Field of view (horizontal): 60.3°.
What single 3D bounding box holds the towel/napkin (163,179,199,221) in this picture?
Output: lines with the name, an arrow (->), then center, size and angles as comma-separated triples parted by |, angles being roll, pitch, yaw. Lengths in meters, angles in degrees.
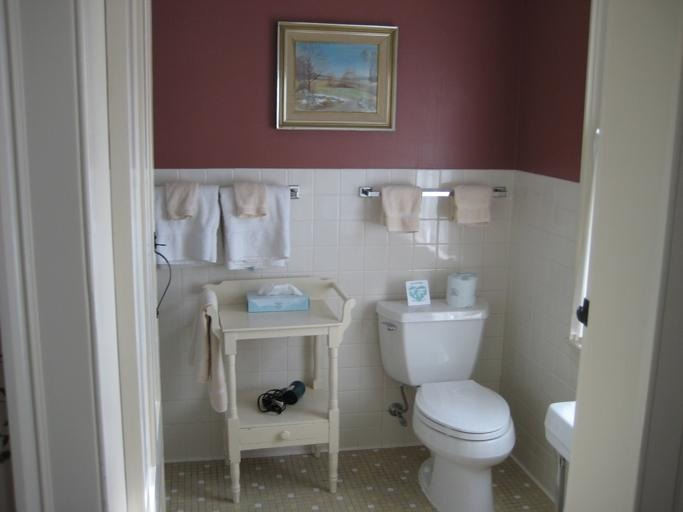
towel/napkin -> -0.755, -0.266, 2.763 | 0.155, 0.170, 0.055 | -4, 4, -2

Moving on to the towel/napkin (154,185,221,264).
towel/napkin -> -0.729, -0.137, 2.703 | 0.318, 0.363, 0.111 | -2, 12, -2

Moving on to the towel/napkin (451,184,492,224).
towel/napkin -> 0.662, -0.264, 3.015 | 0.175, 0.184, 0.076 | -2, 9, -10

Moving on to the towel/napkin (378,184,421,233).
towel/napkin -> 0.308, -0.230, 2.993 | 0.213, 0.250, 0.075 | -3, -11, -1

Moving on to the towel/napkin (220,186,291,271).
towel/napkin -> -0.449, -0.167, 2.986 | 0.348, 0.403, 0.127 | -5, 14, -13

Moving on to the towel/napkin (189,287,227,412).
towel/napkin -> -0.630, 0.450, 2.758 | 0.153, 0.533, 0.304 | -5, 13, -15

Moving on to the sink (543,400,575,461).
sink -> 0.793, 0.641, 2.152 | 0.095, 0.199, 0.340 | 4, 14, 21

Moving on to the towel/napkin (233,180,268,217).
towel/napkin -> -0.439, -0.264, 2.835 | 0.160, 0.170, 0.072 | -4, 13, -9

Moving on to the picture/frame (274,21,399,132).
picture/frame -> -0.048, -0.894, 2.868 | 0.497, 0.447, 0.041 | -1, 10, -11

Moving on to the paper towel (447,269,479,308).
paper towel -> 0.633, 0.171, 3.112 | 0.160, 0.177, 0.169 | 5, 18, 28

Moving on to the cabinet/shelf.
cabinet/shelf -> -0.316, 0.692, 2.900 | 0.630, 0.949, 0.463 | -1, 0, -10
